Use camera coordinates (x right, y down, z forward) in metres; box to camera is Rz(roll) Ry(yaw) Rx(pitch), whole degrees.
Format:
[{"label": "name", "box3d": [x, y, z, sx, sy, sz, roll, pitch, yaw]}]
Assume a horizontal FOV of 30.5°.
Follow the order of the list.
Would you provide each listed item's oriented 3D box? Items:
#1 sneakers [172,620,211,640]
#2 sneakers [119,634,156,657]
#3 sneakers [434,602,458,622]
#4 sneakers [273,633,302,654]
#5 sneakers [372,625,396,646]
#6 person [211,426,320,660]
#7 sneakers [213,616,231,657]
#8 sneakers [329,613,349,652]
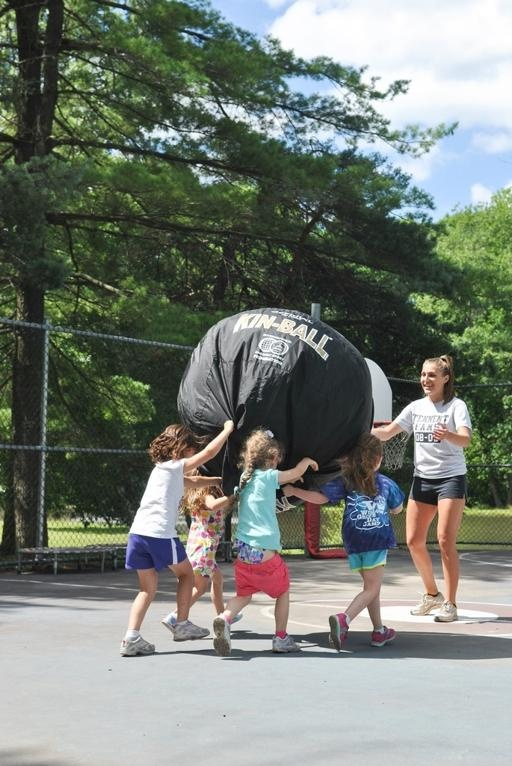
[{"label": "sneakers", "box3d": [-0.351, 1.325, 5.057, 0.250, 0.111, 0.083, 2, 0, -35]}, {"label": "sneakers", "box3d": [-0.570, 1.285, 4.615, 0.210, 0.090, 0.070, 4, -3, -44]}, {"label": "sneakers", "box3d": [1.202, 1.454, 5.978, 0.141, 0.108, 0.127, 1, 0, 10]}, {"label": "sneakers", "box3d": [0.160, 1.322, 4.768, 0.146, 0.075, 0.146, 1, 0, 0]}, {"label": "sneakers", "box3d": [0.687, 1.364, 5.103, 0.064, 0.075, 0.189, 3, 7, 36]}, {"label": "person", "box3d": [0.057, 0.808, 4.776, 0.498, 0.831, 0.526, 1, 0, 3]}, {"label": "sneakers", "box3d": [-0.161, 1.231, 4.593, 0.090, 0.190, 0.096, -6, -6, 33]}, {"label": "sneakers", "box3d": [0.426, 1.293, 4.803, 0.105, 0.205, 0.074, -18, 19, -23]}]
